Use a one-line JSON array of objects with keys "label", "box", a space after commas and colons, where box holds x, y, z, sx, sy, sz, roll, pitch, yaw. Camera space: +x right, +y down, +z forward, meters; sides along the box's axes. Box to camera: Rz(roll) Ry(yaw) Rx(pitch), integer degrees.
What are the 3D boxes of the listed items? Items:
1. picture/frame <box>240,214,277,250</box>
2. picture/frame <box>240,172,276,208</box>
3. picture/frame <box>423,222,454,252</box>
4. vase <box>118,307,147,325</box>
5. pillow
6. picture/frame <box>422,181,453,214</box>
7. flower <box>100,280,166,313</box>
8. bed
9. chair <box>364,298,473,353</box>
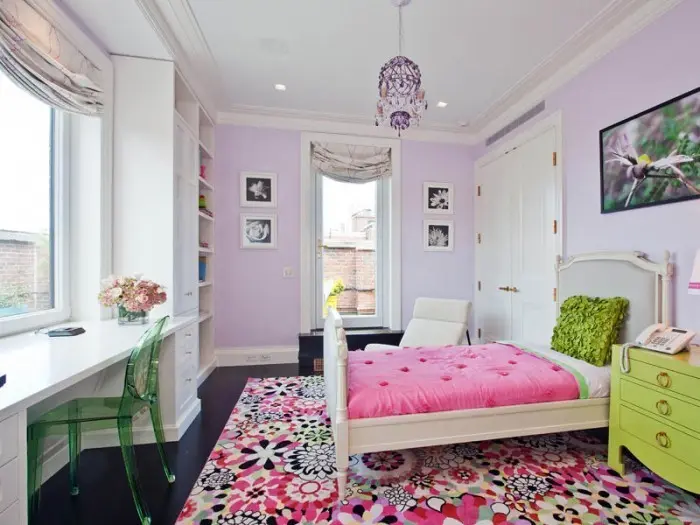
[{"label": "picture/frame", "box": [-1.073, -0.358, 5.007, 0.383, 0.386, 0.029, 1, -1, -15]}, {"label": "picture/frame", "box": [-1.080, -0.832, 5.011, 0.396, 0.404, 0.029, 1, 0, -13]}, {"label": "picture/frame", "box": [1.067, -0.315, 5.379, 0.339, 0.342, 0.025, 1, -2, -14]}, {"label": "vase", "box": [-1.675, 0.421, 3.358, 0.149, 0.117, 0.153, 0, -3, -7]}, {"label": "pillow", "box": [1.904, 0.501, 3.479, 0.145, 0.494, 0.477, 20, -3, -16]}, {"label": "picture/frame", "box": [1.055, -0.796, 5.380, 0.380, 0.383, 0.029, 1, -2, -13]}, {"label": "flower", "box": [-1.662, 0.231, 3.326, 0.323, 0.236, 0.307, 5, 2, 5]}, {"label": "bed", "box": [1.037, 0.737, 3.649, 2.224, 1.585, 1.520, 0, -1, -5]}, {"label": "chair", "box": [0.777, 0.596, 4.303, 0.639, 0.629, 0.632, 8, -9, -41]}]
